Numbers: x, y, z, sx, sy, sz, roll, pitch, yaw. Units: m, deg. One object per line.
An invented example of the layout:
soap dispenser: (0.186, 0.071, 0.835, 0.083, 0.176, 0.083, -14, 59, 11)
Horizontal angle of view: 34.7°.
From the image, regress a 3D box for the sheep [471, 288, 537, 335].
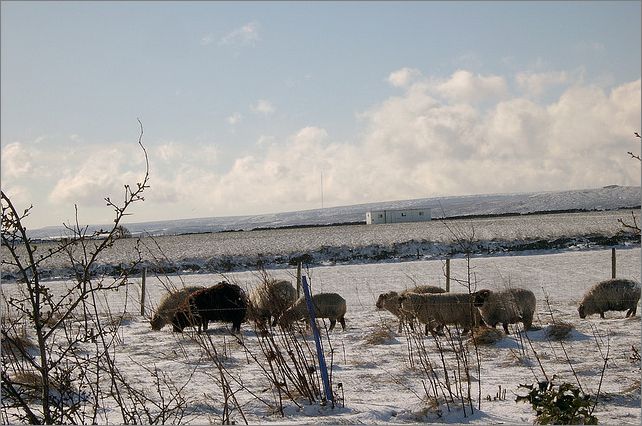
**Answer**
sheep: (7.471, 4.089, 42.364, 3.523, 2.062, 1.491, 1, -7, -6)

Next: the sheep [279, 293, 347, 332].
sheep: (0.116, 3.967, 42.135, 3.546, 1.864, 1.053, -1, -7, -1)

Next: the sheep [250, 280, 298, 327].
sheep: (-1.714, 3.401, 38.716, 1.261, 2.065, 3.083, -2, -2, 39)

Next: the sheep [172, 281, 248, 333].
sheep: (-4.536, 4.191, 42.281, 3.240, 2.236, 1.452, -7, 3, -34)

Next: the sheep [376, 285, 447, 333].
sheep: (3.866, 4.095, 43.406, 3.302, 1.773, 1.024, 3, -4, -19)
